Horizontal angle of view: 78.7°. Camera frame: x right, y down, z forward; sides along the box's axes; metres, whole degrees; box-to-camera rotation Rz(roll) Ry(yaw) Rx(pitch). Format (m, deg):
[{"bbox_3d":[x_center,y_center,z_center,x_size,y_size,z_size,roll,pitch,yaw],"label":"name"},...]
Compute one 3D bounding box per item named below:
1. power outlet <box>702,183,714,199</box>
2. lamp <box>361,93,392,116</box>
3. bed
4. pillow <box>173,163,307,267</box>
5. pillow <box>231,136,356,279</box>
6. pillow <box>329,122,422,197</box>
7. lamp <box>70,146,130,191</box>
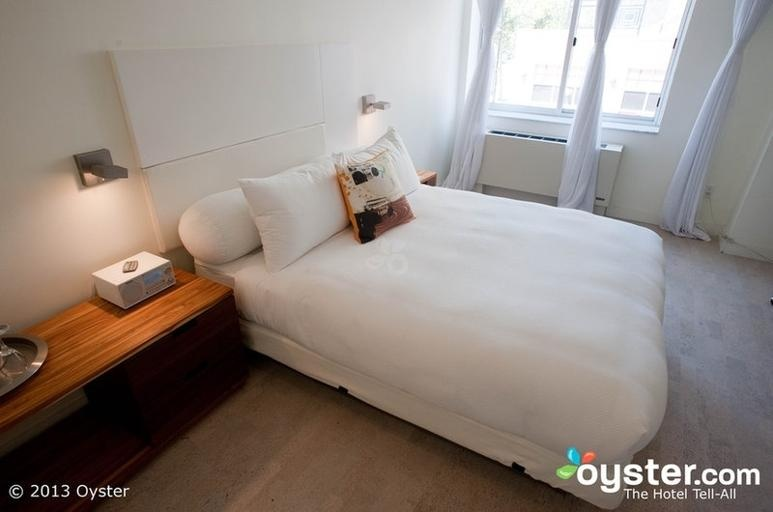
[{"bbox_3d":[2.964,-0.613,4.366,0.084,0.158,0.082,-20,25,-27],"label":"power outlet"},{"bbox_3d":[-0.069,-1.288,3.996,0.233,0.182,0.151,13,31,25],"label":"lamp"},{"bbox_3d":[0.166,-0.103,3.458,3.414,2.293,2.316,17,38,27],"label":"bed"},{"bbox_3d":[-0.916,-0.232,2.927,0.190,0.291,0.577,-19,11,44],"label":"pillow"},{"bbox_3d":[-0.606,-0.279,3.024,0.284,0.525,0.818,12,33,31],"label":"pillow"},{"bbox_3d":[-0.079,-0.699,3.792,0.562,0.573,0.170,-29,-1,-41],"label":"pillow"},{"bbox_3d":[-1.573,-0.483,2.613,0.201,0.185,0.188,10,26,10],"label":"lamp"}]
